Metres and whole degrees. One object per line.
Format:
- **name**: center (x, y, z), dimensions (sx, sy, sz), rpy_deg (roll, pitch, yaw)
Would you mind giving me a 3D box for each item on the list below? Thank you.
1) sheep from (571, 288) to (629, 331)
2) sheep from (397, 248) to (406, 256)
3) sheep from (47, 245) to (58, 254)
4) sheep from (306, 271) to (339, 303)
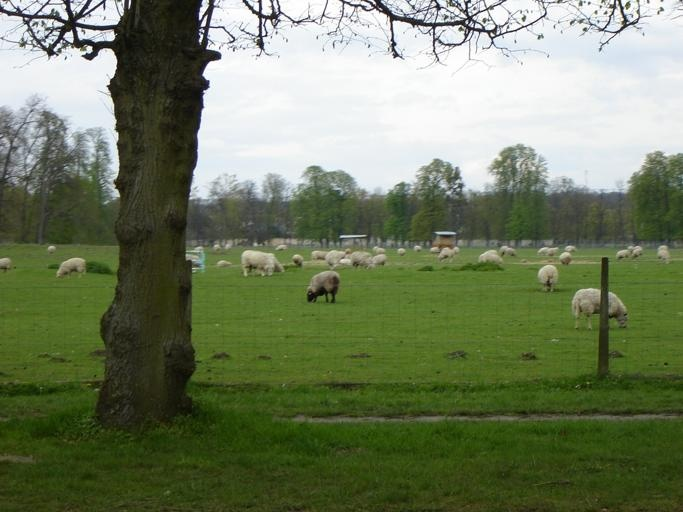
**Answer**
- **sheep**: center (9.872, 1.905, 51.925), dimensions (1.947, 1.712, 2.748), rpy_deg (-1, 13, -2)
- **sheep**: center (5.785, -0.528, 126.568), dimensions (0.795, 0.676, 0.990), rpy_deg (0, -2, -25)
- **sheep**: center (-20.371, -0.564, 96.628), dimensions (0.600, 0.624, 0.725), rpy_deg (1, 7, -16)
- **sheep**: center (-0.756, 1.370, 61.435), dimensions (1.383, 1.430, 2.286), rpy_deg (0, 13, 1)
